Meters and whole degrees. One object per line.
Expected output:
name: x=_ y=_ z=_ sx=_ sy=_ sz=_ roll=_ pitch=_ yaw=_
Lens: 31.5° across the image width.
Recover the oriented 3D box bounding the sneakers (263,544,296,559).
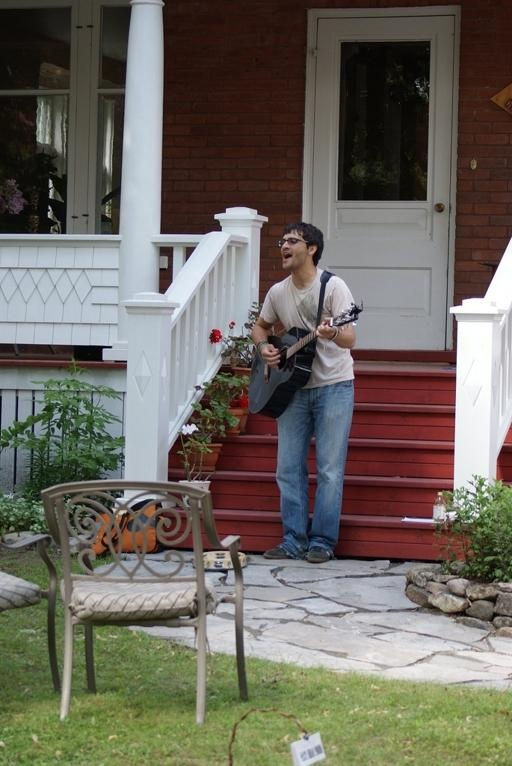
sneakers: x=0.144 y=0.949 z=5.066 sx=0.194 sy=0.072 sz=0.068 roll=2 pitch=-5 yaw=3

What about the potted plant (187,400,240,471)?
potted plant: x=-0.276 y=0.337 z=5.658 sx=0.275 sy=0.426 sz=0.340 roll=10 pitch=-6 yaw=0

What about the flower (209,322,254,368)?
flower: x=-0.140 y=-0.257 z=6.118 sx=0.351 sy=0.307 sz=0.297 roll=1 pitch=0 yaw=-4

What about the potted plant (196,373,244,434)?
potted plant: x=-0.179 y=0.065 z=5.861 sx=0.263 sy=0.245 sz=0.273 roll=11 pitch=-42 yaw=-24

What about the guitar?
guitar: x=0.159 y=-0.213 z=4.741 sx=0.430 sy=0.119 sz=0.845 roll=30 pitch=-22 yaw=-14

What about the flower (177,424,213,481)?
flower: x=-0.387 y=0.411 z=5.607 sx=0.217 sy=0.295 sz=0.221 roll=-5 pitch=-18 yaw=-8

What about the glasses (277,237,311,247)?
glasses: x=0.182 y=-0.747 z=4.822 sx=0.092 sy=0.046 sz=0.197 roll=1 pitch=0 yaw=-43

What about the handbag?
handbag: x=-0.640 y=0.666 z=4.283 sx=0.457 sy=0.173 sz=0.473 roll=-1 pitch=15 yaw=5

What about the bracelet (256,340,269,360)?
bracelet: x=0.044 y=-0.180 z=4.964 sx=0.036 sy=0.086 sz=0.068 roll=4 pitch=12 yaw=3

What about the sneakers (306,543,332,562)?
sneakers: x=0.357 y=0.944 z=4.970 sx=0.161 sy=0.072 sz=0.152 roll=0 pitch=0 yaw=-7

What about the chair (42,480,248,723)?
chair: x=-0.322 y=0.668 z=2.833 sx=0.628 sy=0.669 sz=0.520 roll=-2 pitch=-10 yaw=-1
